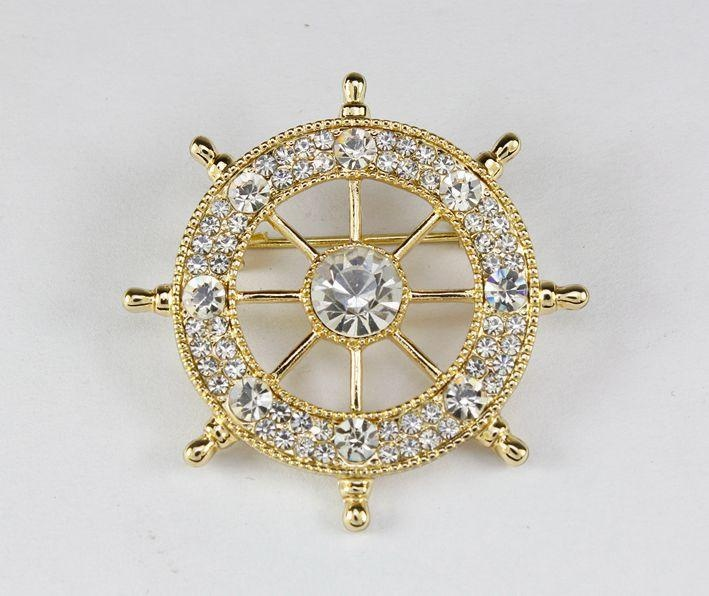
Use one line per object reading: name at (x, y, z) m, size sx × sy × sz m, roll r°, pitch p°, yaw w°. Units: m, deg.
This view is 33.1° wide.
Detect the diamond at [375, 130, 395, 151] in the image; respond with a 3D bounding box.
diamond at (0.067, -0.343, 2.606) m, size 0.039 × 0.010 × 0.042 m, roll 1°, pitch -87°, yaw 2°

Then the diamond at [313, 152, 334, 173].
diamond at (-0.069, -0.294, 2.607) m, size 0.041 × 0.016 × 0.044 m, roll -1°, pitch -92°, yaw -1°
